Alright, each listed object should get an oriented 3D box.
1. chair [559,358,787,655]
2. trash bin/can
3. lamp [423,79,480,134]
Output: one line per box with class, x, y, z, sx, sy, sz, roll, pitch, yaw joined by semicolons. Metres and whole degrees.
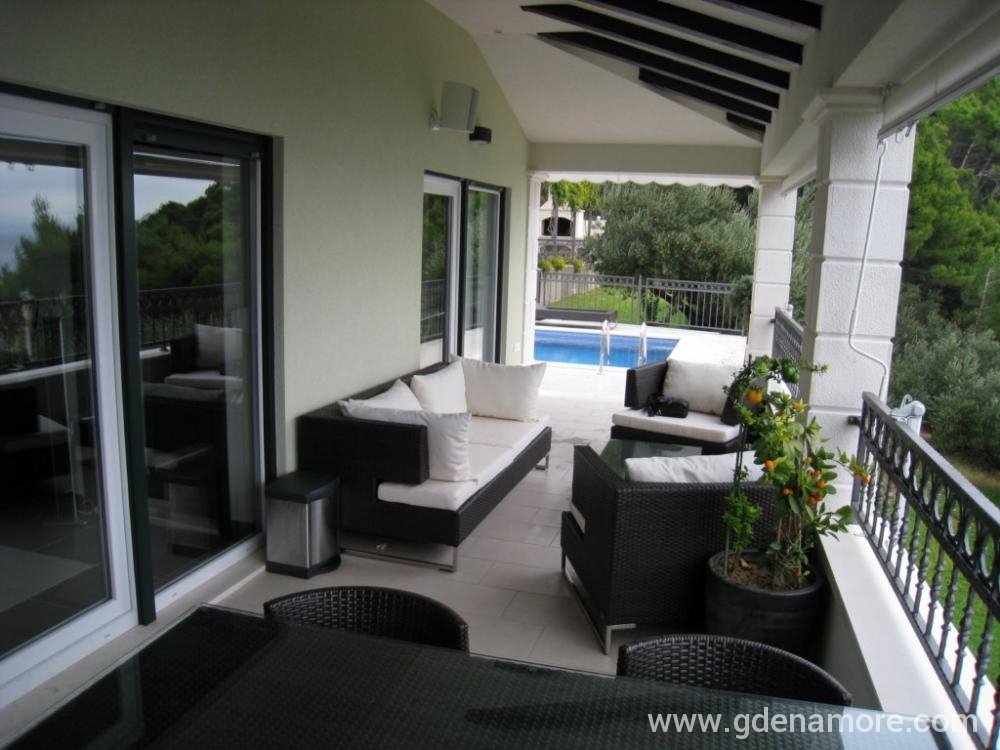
chair;0.902;0.677;3.913;1.262;1.125;0.934;-1;13;-2
trash bin/can;-1.330;0.920;4.451;0.557;0.649;0.453;4;11;16
lamp;-0.518;-2.383;6.342;0.446;0.568;0.467;3;3;15
